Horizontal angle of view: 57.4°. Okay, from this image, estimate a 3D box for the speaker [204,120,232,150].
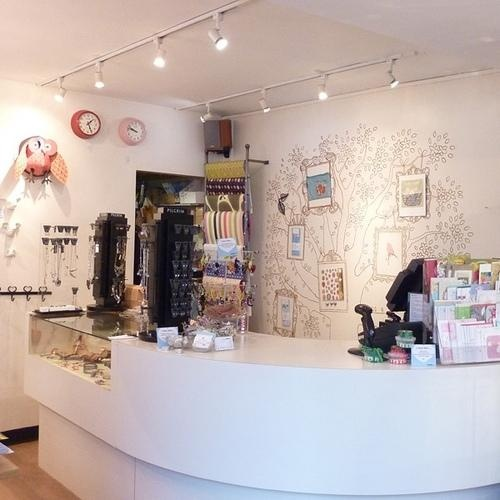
[{"bbox_3d":[-0.397,-1.453,5.886,0.360,0.398,0.332,0,2,-1],"label":"speaker"}]

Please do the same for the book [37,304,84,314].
[{"bbox_3d":[-1.524,0.482,3.656,0.329,0.053,0.299,3,-4,-16],"label":"book"}]

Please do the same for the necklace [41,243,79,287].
[{"bbox_3d":[-2.041,0.161,4.859,0.409,0.506,0.021,-5,7,-38],"label":"necklace"}]

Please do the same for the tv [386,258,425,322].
[{"bbox_3d":[0.862,0.202,2.534,0.178,0.302,0.141,1,-4,10],"label":"tv"}]

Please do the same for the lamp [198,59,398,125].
[{"bbox_3d":[0.319,-1.616,4.515,2.425,0.284,0.428,-1,-5,40],"label":"lamp"}]
